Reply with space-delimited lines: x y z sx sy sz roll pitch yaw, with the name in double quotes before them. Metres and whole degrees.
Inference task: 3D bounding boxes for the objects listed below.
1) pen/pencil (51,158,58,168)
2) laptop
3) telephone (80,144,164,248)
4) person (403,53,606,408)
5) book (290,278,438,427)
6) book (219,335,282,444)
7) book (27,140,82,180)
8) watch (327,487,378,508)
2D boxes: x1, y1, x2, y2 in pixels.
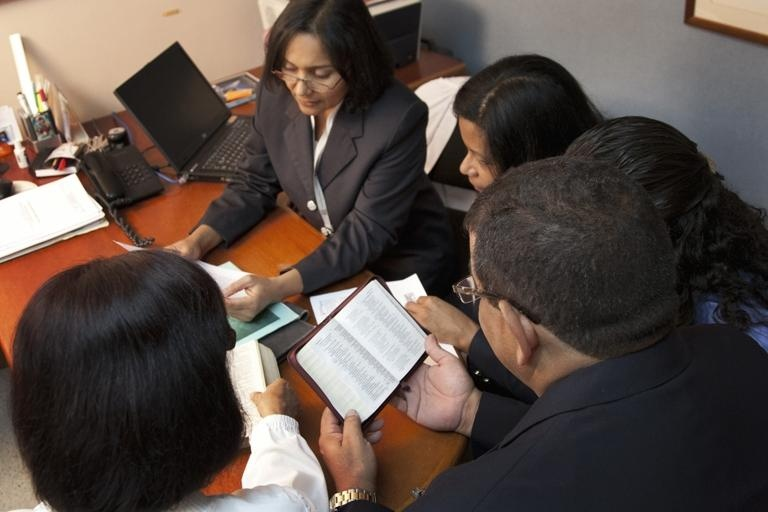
"pen/pencil" -1.364 -0.381 2.337 0.024 0.009 0.035 12 44 14
"laptop" -0.908 -0.498 2.483 0.281 0.467 0.495 23 43 -2
"telephone" -1.042 -0.226 2.277 0.257 0.110 0.526 -29 73 -33
"person" 0.390 -0.070 2.231 0.385 1.002 1.008 -13 39 40
"book" -0.085 0.256 1.684 0.398 0.326 0.115 -45 15 -34
"book" -0.399 0.390 1.651 0.251 0.067 0.250 -2 66 25
"book" -1.373 -0.407 2.363 0.161 0.048 0.176 -4 41 6
"watch" -0.096 0.636 1.492 0.097 0.100 0.060 -11 53 22
